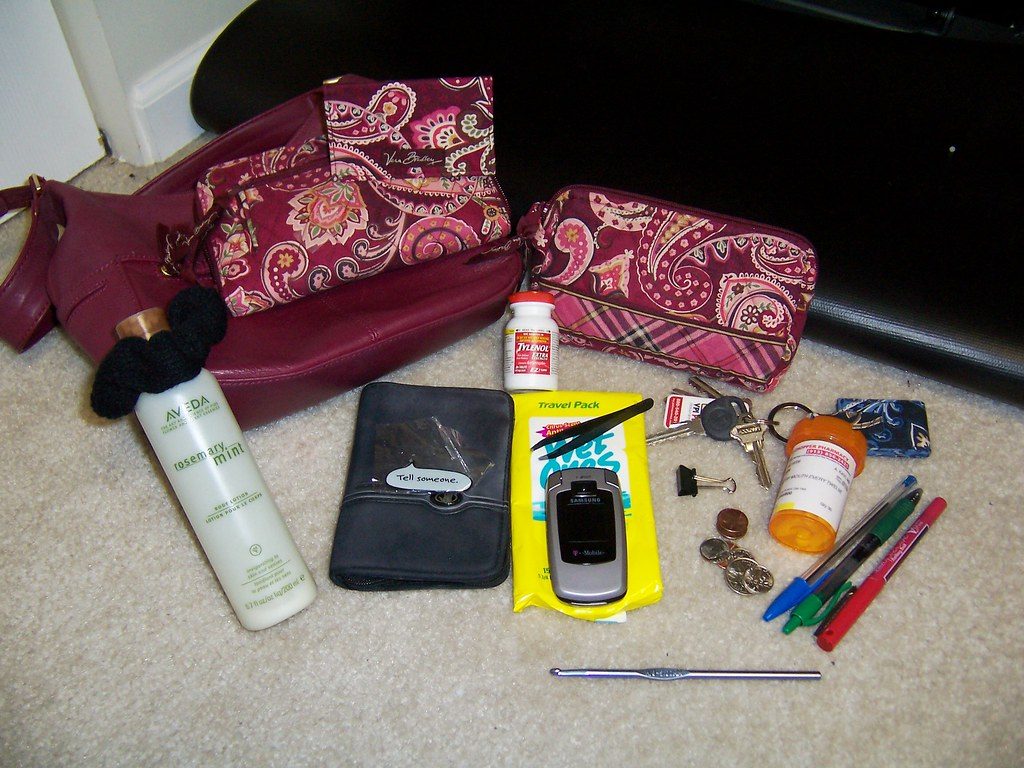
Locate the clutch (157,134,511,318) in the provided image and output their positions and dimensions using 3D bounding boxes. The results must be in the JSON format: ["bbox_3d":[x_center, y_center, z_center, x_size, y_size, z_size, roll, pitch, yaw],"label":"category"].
[{"bbox_3d":[-0.266,-0.270,1.409,0.500,0.161,0.213,-15,48,-13],"label":"clutch"}]

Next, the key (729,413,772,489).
[{"bbox_3d":[0.362,0.095,1.387,0.043,0.013,0.118,-18,55,13],"label":"key"}]

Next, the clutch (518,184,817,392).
[{"bbox_3d":[0.225,-0.160,1.436,0.452,0.202,0.141,12,47,12],"label":"clutch"}]

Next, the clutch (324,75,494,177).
[{"bbox_3d":[-0.141,-0.454,1.521,0.309,0.139,0.259,3,43,9],"label":"clutch"}]

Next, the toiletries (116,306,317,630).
[{"bbox_3d":[-0.362,0.152,1.202,0.103,0.270,0.230,-28,51,-24],"label":"toiletries"}]

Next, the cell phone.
[{"bbox_3d":[0.103,0.203,1.260,0.091,0.040,0.173,-3,65,3],"label":"cell phone"}]

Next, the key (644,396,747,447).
[{"bbox_3d":[0.289,0.067,1.404,0.181,0.052,0.057,-17,48,-14],"label":"key"}]
